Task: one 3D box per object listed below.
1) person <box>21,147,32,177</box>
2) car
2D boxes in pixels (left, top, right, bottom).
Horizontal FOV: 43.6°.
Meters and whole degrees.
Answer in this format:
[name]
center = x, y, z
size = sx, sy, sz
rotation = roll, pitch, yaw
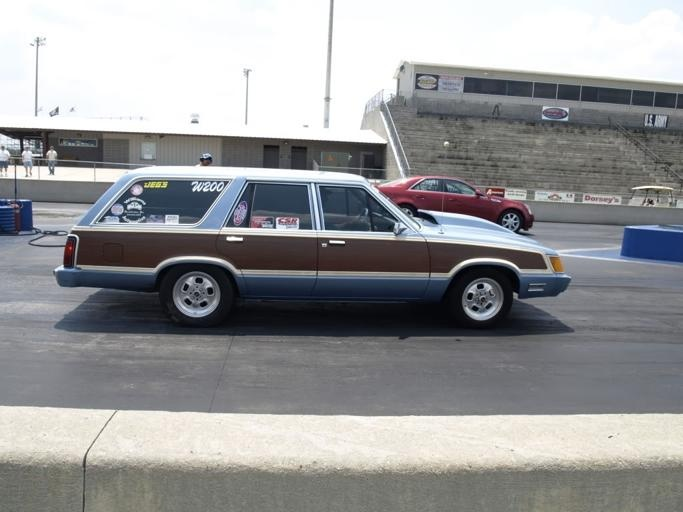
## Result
[person]
center = -10.786, -3.164, 29.234
size = 0.268, 0.833, 0.698
rotation = -4, 13, -24
[car]
center = -0.241, -0.194, 10.138
size = 5.477, 1.451, 2.099
rotation = -1, 7, -5
